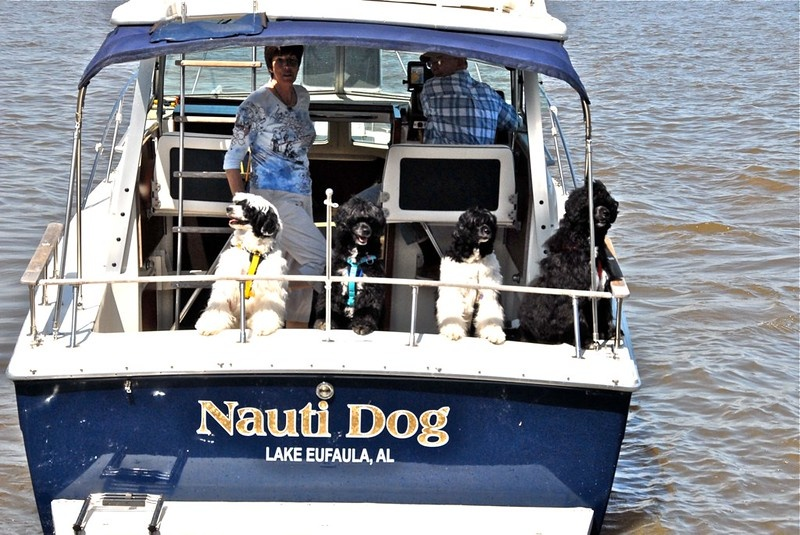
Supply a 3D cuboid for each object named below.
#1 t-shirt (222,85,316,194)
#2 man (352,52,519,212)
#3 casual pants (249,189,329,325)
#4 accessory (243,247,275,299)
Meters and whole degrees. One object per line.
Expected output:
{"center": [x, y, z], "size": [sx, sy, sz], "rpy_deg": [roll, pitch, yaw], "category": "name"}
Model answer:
{"center": [-1.164, -1.189, 15.942], "size": [0.532, 1.078, 1.346], "rpy_deg": [11, 16, 29], "category": "t-shirt"}
{"center": [0.393, -1.251, 16.449], "size": [1.746, 1.595, 0.931], "rpy_deg": [-1, 33, -21], "category": "man"}
{"center": [-1.037, -0.183, 15.719], "size": [0.524, 1.476, 0.550], "rpy_deg": [-1, 3, 2], "category": "casual pants"}
{"center": [-1.326, 0.067, 14.971], "size": [0.261, 0.380, 0.103], "rpy_deg": [6, -3, -3], "category": "accessory"}
